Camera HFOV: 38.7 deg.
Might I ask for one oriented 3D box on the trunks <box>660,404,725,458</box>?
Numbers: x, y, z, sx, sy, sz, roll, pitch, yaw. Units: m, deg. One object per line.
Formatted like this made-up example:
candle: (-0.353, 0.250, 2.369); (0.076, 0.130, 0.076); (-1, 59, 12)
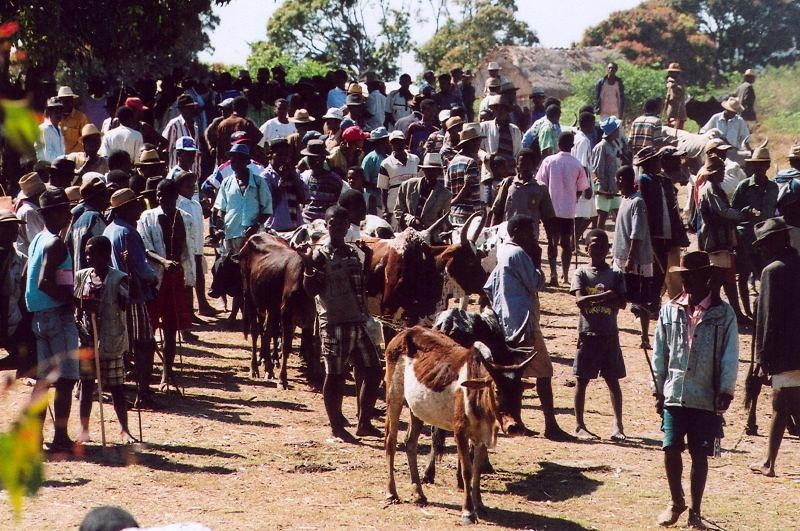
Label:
trunks: (3.942, 2.186, 15.354); (1.052, 0.743, 0.585); (1, -17, 6)

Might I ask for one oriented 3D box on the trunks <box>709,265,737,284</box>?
trunks: (5.272, 0.122, 18.561); (0.295, 0.332, 0.326); (-2, 12, 7)

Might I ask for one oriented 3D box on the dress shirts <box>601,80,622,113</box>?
dress shirts: (5.610, -4.425, 30.105); (0.716, 0.926, 0.590); (2, -18, 1)

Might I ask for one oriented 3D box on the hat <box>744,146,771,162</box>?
hat: (6.838, -2.083, 21.629); (0.408, 0.157, 0.355); (3, 1, 2)

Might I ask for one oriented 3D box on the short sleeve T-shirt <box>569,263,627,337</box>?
short sleeve T-shirt: (3.106, 0.508, 17.712); (0.886, 1.079, 0.610); (-1, 7, 11)

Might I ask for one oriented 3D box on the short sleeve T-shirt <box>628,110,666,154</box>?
short sleeve T-shirt: (6.078, -3.187, 27.921); (0.569, 0.990, 0.981); (-3, 9, -44)

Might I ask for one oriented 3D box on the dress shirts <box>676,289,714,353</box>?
dress shirts: (3.927, 0.740, 15.242); (0.442, 0.805, 0.411); (23, -14, -21)

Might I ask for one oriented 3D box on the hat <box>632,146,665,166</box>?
hat: (4.338, -1.809, 19.805); (0.448, 0.149, 0.416); (-23, 3, 15)

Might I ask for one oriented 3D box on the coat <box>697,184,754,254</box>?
coat: (6.159, -0.963, 21.725); (0.980, 1.400, 1.051); (-5, 2, 14)

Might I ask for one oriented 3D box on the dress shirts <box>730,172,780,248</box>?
dress shirts: (6.835, -0.977, 21.712); (1.004, 1.394, 0.594); (1, -6, -2)
